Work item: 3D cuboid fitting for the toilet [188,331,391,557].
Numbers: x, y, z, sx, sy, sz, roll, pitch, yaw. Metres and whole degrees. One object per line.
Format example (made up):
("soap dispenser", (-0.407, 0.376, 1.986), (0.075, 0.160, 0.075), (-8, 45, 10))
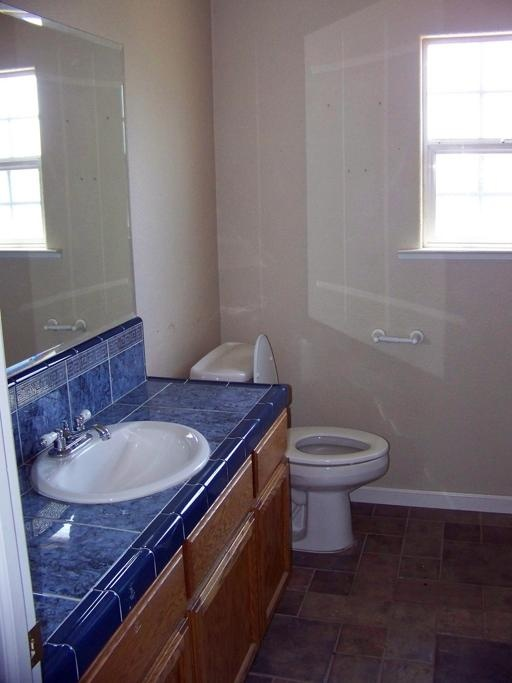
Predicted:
("toilet", (0.227, 0.469, 2.423), (0.692, 0.889, 0.416), (1, 12, 14))
